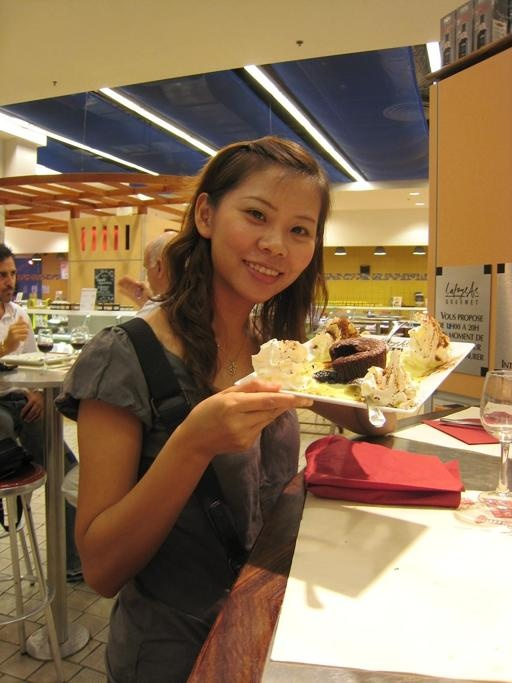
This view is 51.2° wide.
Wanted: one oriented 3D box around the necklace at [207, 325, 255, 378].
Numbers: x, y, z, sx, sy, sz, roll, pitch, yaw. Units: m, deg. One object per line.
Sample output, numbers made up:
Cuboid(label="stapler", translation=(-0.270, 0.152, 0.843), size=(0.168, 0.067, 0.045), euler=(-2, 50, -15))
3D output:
Cuboid(label="necklace", translation=(-0.055, 0.023, 1.275), size=(0.096, 0.121, 0.040), euler=(2, 2, -38))
